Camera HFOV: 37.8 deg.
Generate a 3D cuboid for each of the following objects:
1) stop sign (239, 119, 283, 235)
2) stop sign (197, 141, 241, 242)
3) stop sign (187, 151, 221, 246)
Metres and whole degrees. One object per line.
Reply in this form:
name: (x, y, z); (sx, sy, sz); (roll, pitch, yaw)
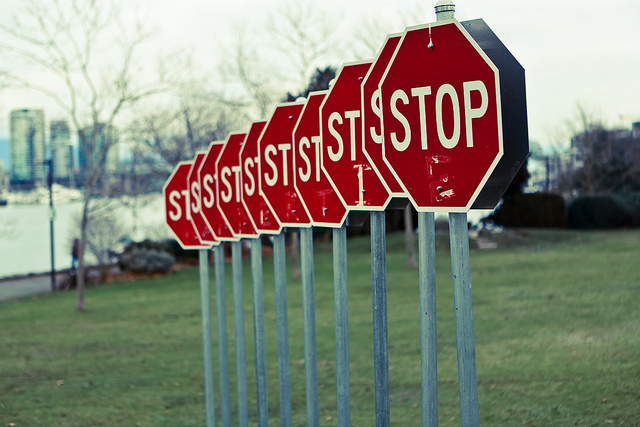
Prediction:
stop sign: (-0.730, -0.301, 10.135); (0.075, 0.995, 1.093); (-3, -10, -16)
stop sign: (-1.115, -0.213, 10.379); (0.114, 1.657, 1.040); (0, 0, -35)
stop sign: (-1.413, -0.075, 10.573); (0.045, 0.832, 0.956); (0, -12, -19)
